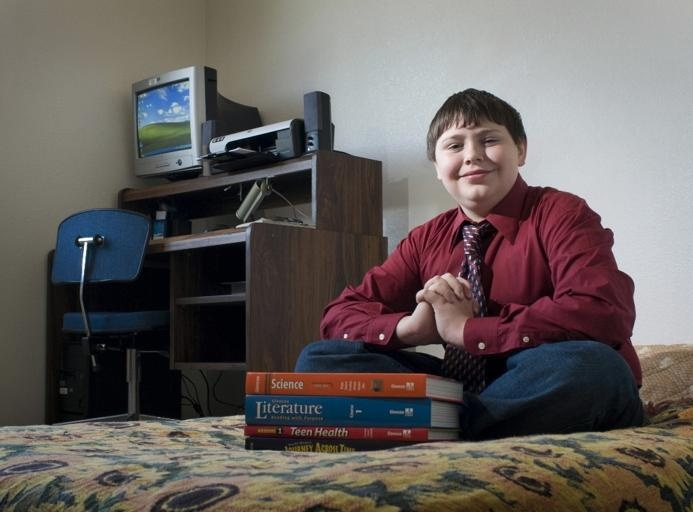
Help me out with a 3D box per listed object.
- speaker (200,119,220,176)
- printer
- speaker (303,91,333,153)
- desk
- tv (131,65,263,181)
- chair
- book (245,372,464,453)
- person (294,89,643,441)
[{"bbox_3d":[-0.636,-0.494,2.777,0.076,0.262,0.063,-1,0,43],"label":"speaker"},{"bbox_3d":[-0.382,-0.456,2.559,0.486,0.158,0.365,-5,-4,34],"label":"printer"},{"bbox_3d":[-0.109,-0.552,2.482,0.091,0.239,0.129,1,4,36],"label":"speaker"},{"bbox_3d":[-0.546,0.088,2.321,1.289,1.190,0.759,-3,-6,36],"label":"desk"},{"bbox_3d":[-0.833,-0.614,3.197,0.537,0.507,0.561,-4,-3,23],"label":"tv"},{"bbox_3d":[-0.961,0.275,2.621,0.614,0.898,0.602,-2,-6,12],"label":"chair"},{"bbox_3d":[0.003,0.232,0.882,0.212,0.077,0.162,0,-2,9],"label":"book"},{"bbox_3d":[0.285,0.036,1.369,0.771,0.823,0.620,-12,-18,39],"label":"person"}]
